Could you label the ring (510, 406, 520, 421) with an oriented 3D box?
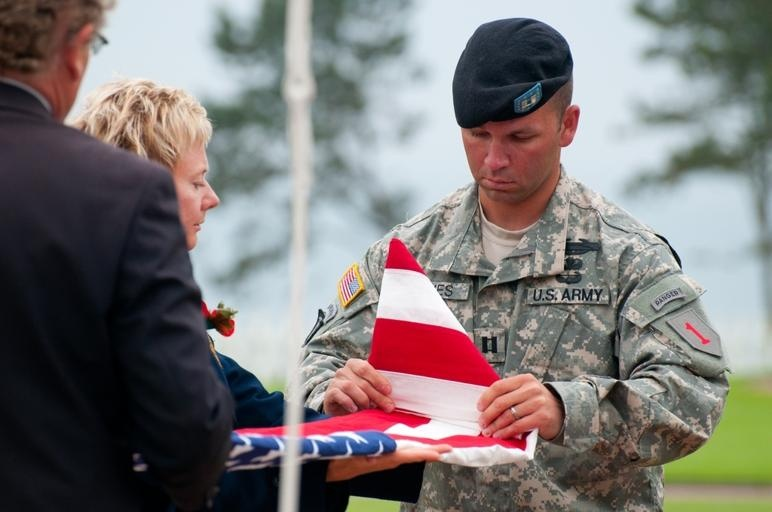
[{"bbox_3d":[0.613,0.754,6.035,0.021,0.055,0.041,-35,20,-22],"label":"ring"}]
